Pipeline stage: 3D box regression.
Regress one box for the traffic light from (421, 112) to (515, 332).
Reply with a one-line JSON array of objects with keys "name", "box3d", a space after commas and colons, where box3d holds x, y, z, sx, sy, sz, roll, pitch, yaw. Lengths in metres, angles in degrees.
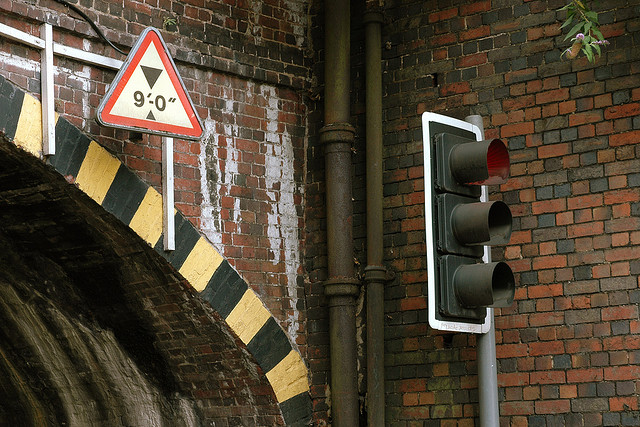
[{"name": "traffic light", "box3d": [1.376, 0.033, 11.293, 0.784, 2.048, 1.016, -3, -29, 8]}]
